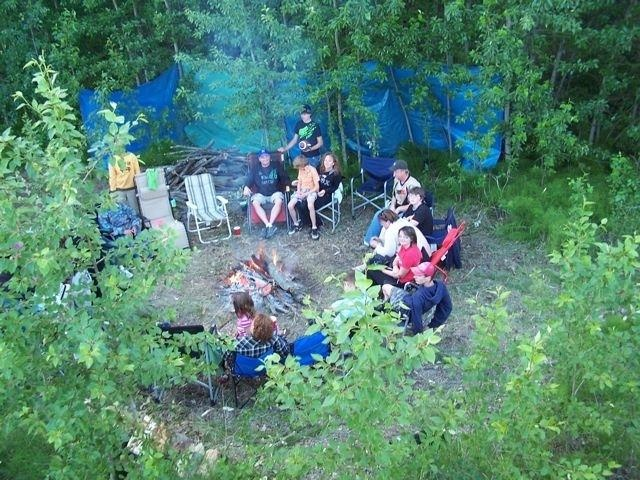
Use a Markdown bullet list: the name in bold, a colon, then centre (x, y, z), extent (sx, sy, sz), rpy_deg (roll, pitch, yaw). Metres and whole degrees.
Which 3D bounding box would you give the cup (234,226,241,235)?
- **cup**: centre (-1.441, -0.154, 9.203), extent (0.116, 0.126, 0.127), rpy_deg (0, 23, 0)

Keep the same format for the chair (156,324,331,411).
- **chair**: centre (-0.644, 1.053, 5.144), extent (1.924, 0.617, 1.076), rpy_deg (-2, 71, 8)

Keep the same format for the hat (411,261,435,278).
- **hat**: centre (1.183, 0.349, 6.073), extent (0.257, 0.189, 0.179), rpy_deg (11, 35, 15)

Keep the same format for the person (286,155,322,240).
- **person**: centre (-0.278, -0.730, 9.064), extent (0.544, 1.135, 0.894), rpy_deg (-1, 33, 0)

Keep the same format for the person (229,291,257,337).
- **person**: centre (-0.898, 0.896, 6.177), extent (0.236, 0.832, 0.269), rpy_deg (9, 25, 20)

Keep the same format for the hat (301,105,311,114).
- **hat**: centre (-0.248, -2.407, 9.752), extent (0.156, 0.139, 0.120), rpy_deg (7, 13, -14)

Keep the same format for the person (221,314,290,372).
- **person**: centre (-0.666, 0.975, 5.786), extent (0.544, 0.683, 0.862), rpy_deg (-5, 22, -13)
